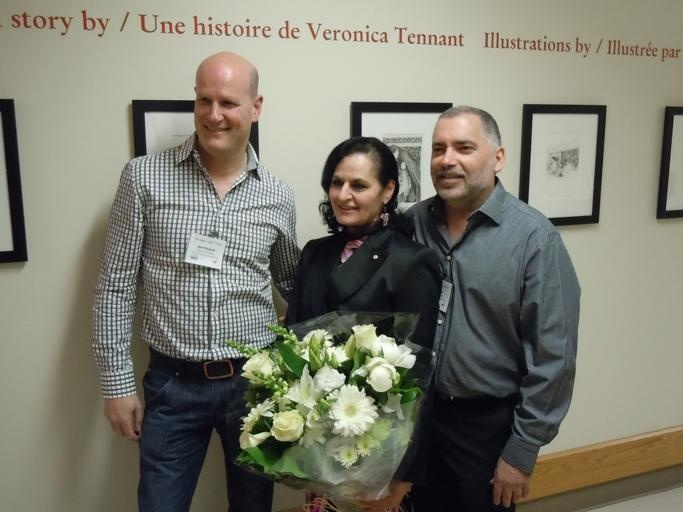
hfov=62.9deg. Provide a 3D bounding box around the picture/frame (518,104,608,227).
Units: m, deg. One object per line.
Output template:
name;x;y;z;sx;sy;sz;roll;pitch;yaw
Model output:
picture/frame;1.327;-0.575;3.395;0.680;0.902;0.037;-4;11;-17

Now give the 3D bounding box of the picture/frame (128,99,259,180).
picture/frame;-0.705;-0.544;2.633;0.387;0.303;0.020;-1;7;-10

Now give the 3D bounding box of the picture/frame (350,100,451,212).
picture/frame;0.288;-0.524;2.836;0.551;0.700;0.027;-7;11;-20

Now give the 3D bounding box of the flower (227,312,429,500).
flower;-0.021;0.573;1.991;0.699;0.682;0.439;0;11;4
